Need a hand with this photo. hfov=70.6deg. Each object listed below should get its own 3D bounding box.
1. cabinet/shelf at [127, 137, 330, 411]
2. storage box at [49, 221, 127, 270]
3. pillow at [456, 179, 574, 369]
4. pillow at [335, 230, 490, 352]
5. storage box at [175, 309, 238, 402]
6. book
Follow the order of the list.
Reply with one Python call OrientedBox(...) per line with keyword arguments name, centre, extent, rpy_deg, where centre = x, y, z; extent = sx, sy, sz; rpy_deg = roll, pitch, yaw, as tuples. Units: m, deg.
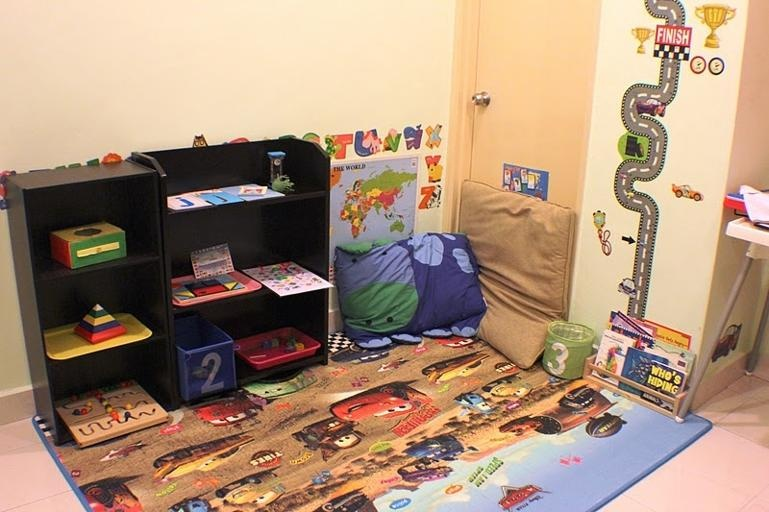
OrientedBox(name="cabinet/shelf", centre=(-0.965, 0.089, 3.296), extent=(1.500, 1.740, 0.588), rpy_deg=(-14, 23, -38))
OrientedBox(name="storage box", centre=(-1.593, -0.057, 2.917), extent=(0.307, 0.161, 0.270), rpy_deg=(-21, 29, -39))
OrientedBox(name="pillow", centre=(0.926, 0.164, 3.739), extent=(0.543, 0.965, 1.082), rpy_deg=(-25, 30, -29))
OrientedBox(name="pillow", centre=(0.170, 0.221, 3.998), extent=(1.174, 0.726, 0.571), rpy_deg=(-3, 20, -25))
OrientedBox(name="storage box", centre=(-1.109, 0.589, 3.429), extent=(0.407, 0.370, 0.550), rpy_deg=(-11, 21, -30))
OrientedBox(name="book", centre=(1.630, 0.664, 3.332), extent=(0.566, 0.375, 0.341), rpy_deg=(24, 22, 33))
